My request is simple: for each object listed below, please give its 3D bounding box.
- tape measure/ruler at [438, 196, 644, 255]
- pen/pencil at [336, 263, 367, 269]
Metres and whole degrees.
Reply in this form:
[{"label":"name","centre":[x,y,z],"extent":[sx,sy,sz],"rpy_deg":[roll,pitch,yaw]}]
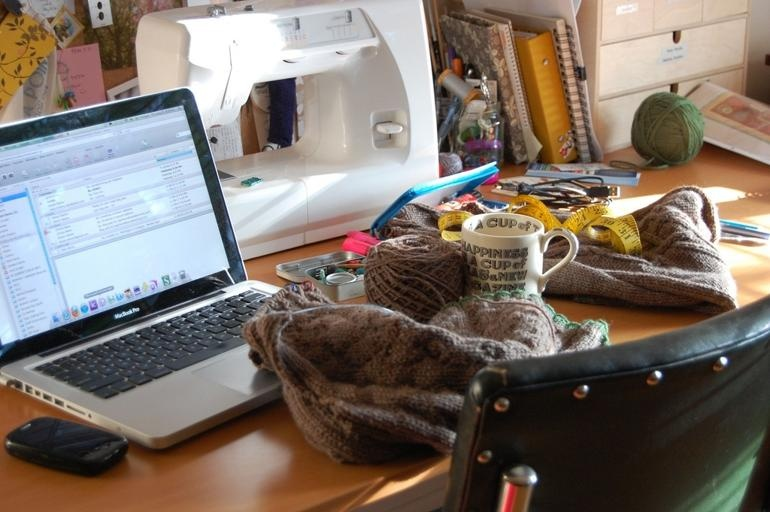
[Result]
[{"label":"tape measure/ruler","centre":[0.281,-0.055,0.920],"extent":[0.226,0.155,0.170],"rpy_deg":[4,20,27]},{"label":"pen/pencil","centre":[-0.051,0.016,0.909],"extent":[0.020,0.004,0.020],"rpy_deg":[7,15,30]}]
